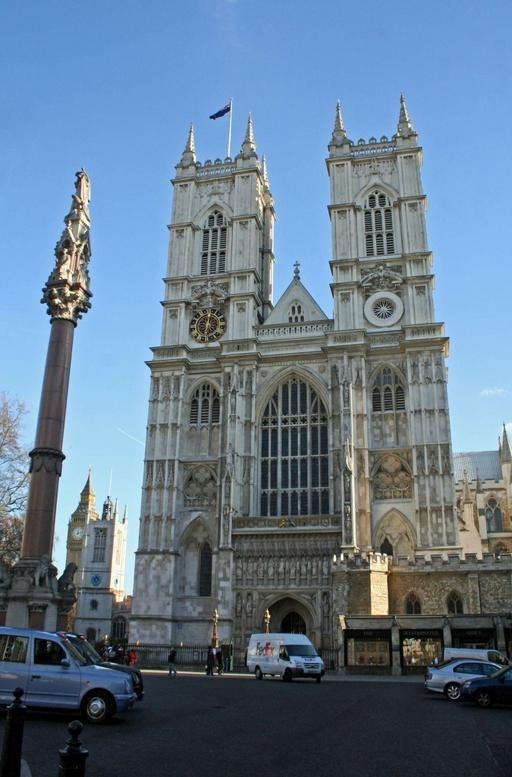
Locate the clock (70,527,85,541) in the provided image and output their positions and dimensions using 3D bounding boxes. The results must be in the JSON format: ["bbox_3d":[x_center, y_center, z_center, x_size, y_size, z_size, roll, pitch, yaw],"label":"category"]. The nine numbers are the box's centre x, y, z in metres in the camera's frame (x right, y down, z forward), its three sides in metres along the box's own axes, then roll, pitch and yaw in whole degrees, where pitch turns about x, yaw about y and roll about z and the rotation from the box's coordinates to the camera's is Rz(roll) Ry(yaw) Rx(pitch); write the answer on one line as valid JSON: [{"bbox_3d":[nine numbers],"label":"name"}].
[{"bbox_3d":[-33.681,27.542,121.832,2.191,2.363,0.602,-6,-19,23],"label":"clock"}]

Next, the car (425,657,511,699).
[{"bbox_3d":[5.677,8.153,18.262,2.604,0.932,1.183,-8,-14,6],"label":"car"}]

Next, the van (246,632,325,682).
[{"bbox_3d":[1.174,10.954,26.203,1.748,1.680,3.730,11,-26,-28],"label":"van"}]
